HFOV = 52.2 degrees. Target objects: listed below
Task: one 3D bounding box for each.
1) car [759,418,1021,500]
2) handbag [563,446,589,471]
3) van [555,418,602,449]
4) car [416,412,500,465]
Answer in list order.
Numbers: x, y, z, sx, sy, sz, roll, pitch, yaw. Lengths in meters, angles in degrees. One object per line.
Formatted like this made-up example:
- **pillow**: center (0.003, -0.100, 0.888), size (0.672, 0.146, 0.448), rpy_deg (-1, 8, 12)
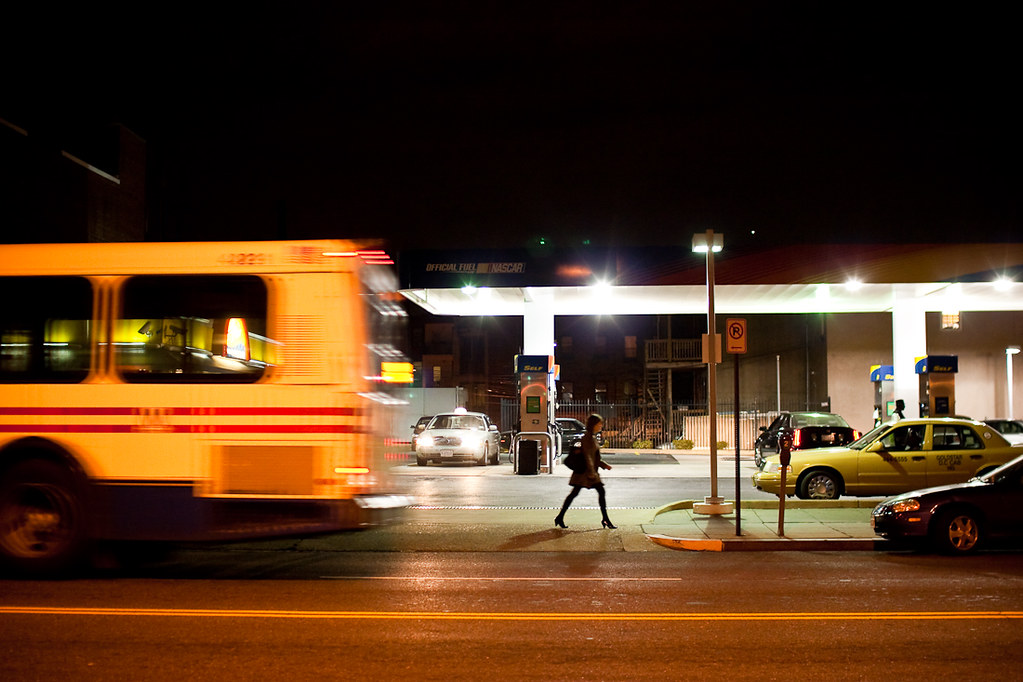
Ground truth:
- **car**: center (8.730, 2.718, 24.069), size (5.142, 1.392, 2.112), rpy_deg (-1, -5, 7)
- **handbag**: center (1.276, 2.324, 20.475), size (0.205, 0.531, 0.424), rpy_deg (1, 2, -45)
- **van**: center (3.265, 4.000, 45.385), size (2.523, 1.212, 1.336), rpy_deg (-2, -2, 5)
- **car**: center (-1.873, 3.474, 36.712), size (2.618, 1.871, 2.472), rpy_deg (2, 1, 7)
